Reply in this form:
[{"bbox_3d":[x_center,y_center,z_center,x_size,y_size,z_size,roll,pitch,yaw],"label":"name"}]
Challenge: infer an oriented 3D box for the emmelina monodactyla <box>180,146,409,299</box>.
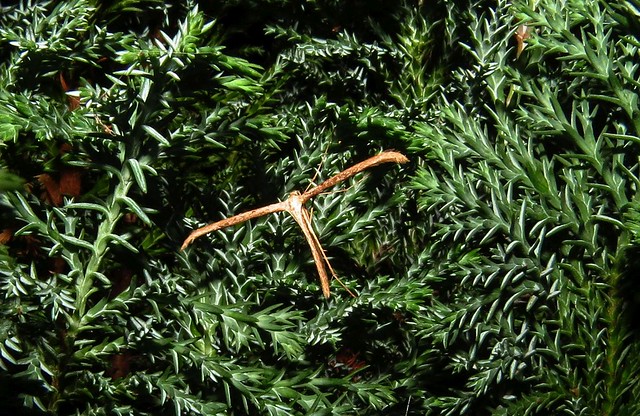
[{"bbox_3d":[-0.045,0.003,1.805,0.594,0.109,0.344,-25,100,1],"label":"emmelina monodactyla"}]
